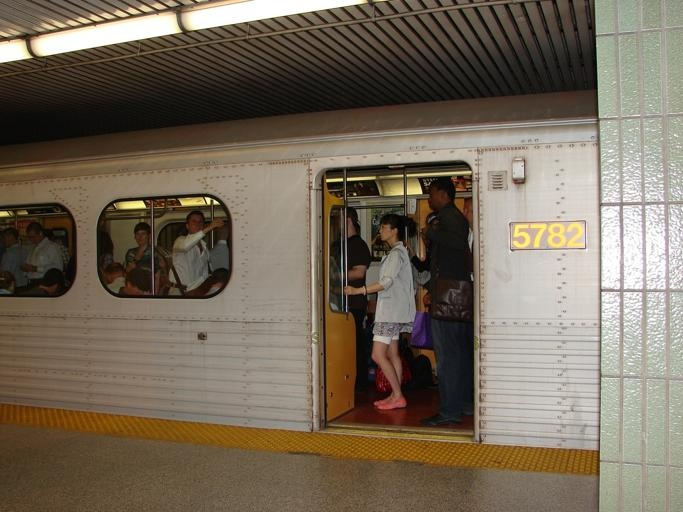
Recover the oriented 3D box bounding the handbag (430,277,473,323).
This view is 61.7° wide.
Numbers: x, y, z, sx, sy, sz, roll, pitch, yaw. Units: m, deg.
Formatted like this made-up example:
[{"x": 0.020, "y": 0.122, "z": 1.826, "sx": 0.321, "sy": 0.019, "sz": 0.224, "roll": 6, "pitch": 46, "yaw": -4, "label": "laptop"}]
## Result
[{"x": 1.204, "y": 0.469, "z": 6.219, "sx": 0.626, "sy": 0.584, "sz": 0.381, "roll": 0, "pitch": -4, "yaw": 14, "label": "handbag"}]
